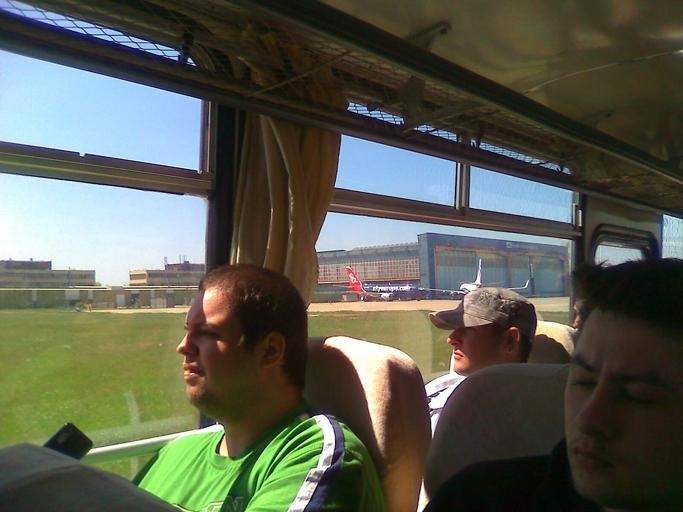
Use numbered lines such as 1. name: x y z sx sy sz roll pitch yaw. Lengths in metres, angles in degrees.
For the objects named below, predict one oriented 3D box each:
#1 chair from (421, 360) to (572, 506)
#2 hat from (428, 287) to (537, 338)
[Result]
1. chair: 0.539 0.511 1.892 0.576 0.452 0.496 -7 0 4
2. hat: 0.870 0.319 3.009 0.647 0.269 0.436 1 -6 2
